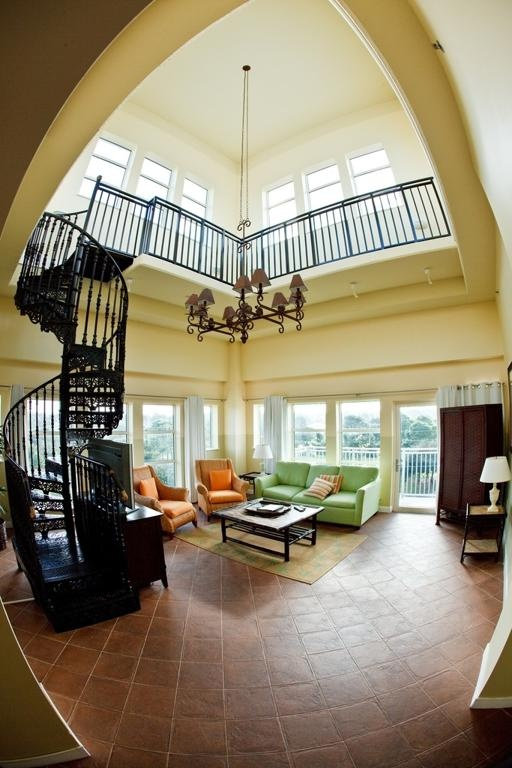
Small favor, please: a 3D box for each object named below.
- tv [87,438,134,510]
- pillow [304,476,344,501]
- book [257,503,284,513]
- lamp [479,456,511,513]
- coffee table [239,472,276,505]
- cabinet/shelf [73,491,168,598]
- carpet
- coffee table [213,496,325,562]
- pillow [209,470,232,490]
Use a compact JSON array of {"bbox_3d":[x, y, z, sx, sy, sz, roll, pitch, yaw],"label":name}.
[{"bbox_3d":[-1.376,0.830,4.230,0.241,0.569,1.194,1,-3,-34],"label":"tv"},{"bbox_3d":[1.045,1.624,7.085,0.413,0.297,0.654,-2,-3,36],"label":"pillow"},{"bbox_3d":[0.197,1.615,5.773,0.351,0.069,0.479,-1,-2,10],"label":"book"},{"bbox_3d":[2.740,1.131,5.126,0.277,0.632,0.759,-2,-2,29],"label":"lamp"},{"bbox_3d":[-0.059,1.876,8.407,0.572,0.836,0.585,1,-2,30],"label":"coffee table"},{"bbox_3d":[-1.192,1.463,4.280,0.688,1.094,1.054,1,-3,-36],"label":"cabinet/shelf"},{"bbox_3d":[0.157,2.083,6.007,2.564,0.055,2.021,-2,-3,39],"label":"carpet"},{"bbox_3d":[0.124,1.753,5.655,0.857,0.405,0.748,-1,3,35],"label":"coffee table"},{"bbox_3d":[-0.609,1.615,7.468,0.276,0.261,0.103,1,-14,-25],"label":"pillow"}]
